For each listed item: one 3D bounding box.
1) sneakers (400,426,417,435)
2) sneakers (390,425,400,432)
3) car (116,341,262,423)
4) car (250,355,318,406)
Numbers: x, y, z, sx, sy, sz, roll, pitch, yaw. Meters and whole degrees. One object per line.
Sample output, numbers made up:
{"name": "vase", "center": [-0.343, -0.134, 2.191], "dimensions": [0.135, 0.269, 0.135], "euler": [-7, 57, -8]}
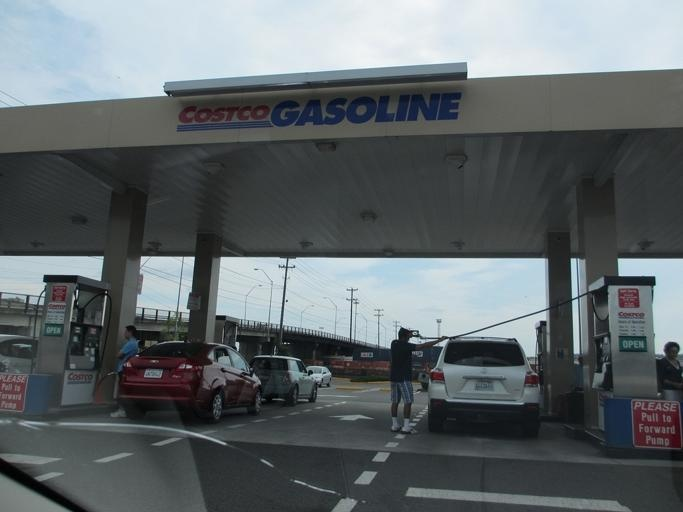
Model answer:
{"name": "sneakers", "center": [1.427, 3.550, 10.250], "dimensions": [0.477, 0.179, 0.166], "euler": [0, -3, 1]}
{"name": "sneakers", "center": [1.083, 3.530, 10.369], "dimensions": [0.086, 0.089, 0.221], "euler": [0, -3, 34]}
{"name": "car", "center": [-3.114, 2.662, 10.752], "dimensions": [1.461, 1.647, 3.547], "euler": [-3, -14, 24]}
{"name": "car", "center": [-1.987, 4.319, 18.102], "dimensions": [1.477, 1.241, 2.662], "euler": [-2, -8, 17]}
